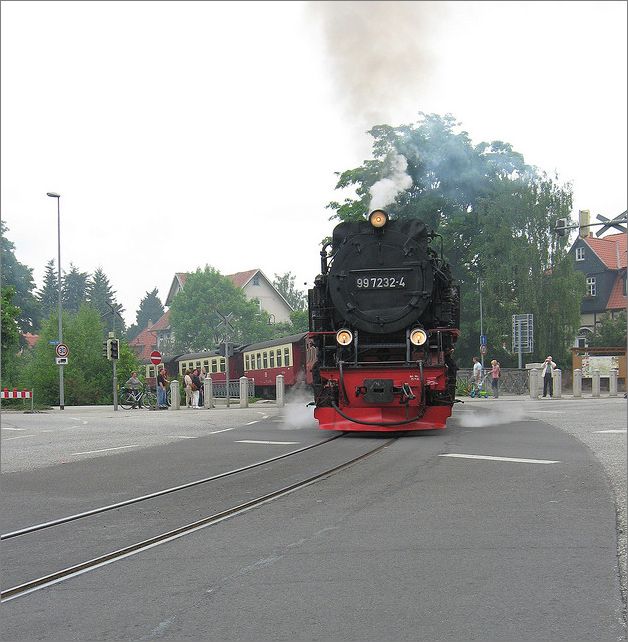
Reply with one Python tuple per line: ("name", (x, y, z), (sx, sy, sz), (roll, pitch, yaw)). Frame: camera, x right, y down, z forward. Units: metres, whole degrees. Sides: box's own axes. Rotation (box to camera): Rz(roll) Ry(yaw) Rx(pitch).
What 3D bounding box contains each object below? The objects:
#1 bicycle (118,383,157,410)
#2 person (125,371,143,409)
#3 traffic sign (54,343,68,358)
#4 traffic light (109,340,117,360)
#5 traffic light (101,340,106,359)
("bicycle", (-7.087, 2.996, 29.674), (1.564, 1.117, 0.826), (-1, -1, -9))
("person", (-7.610, 2.927, 31.367), (0.899, 2.009, 0.615), (3, -22, -29))
("traffic sign", (-11.657, 1.354, 34.314), (0.757, 0.867, 0.077), (-3, 6, -35))
("traffic light", (-7.517, 1.058, 27.956), (0.237, 0.784, 0.606), (2, -6, -26))
("traffic light", (-8.026, 1.061, 28.707), (0.196, 0.717, 1.454), (1, -7, -15))
